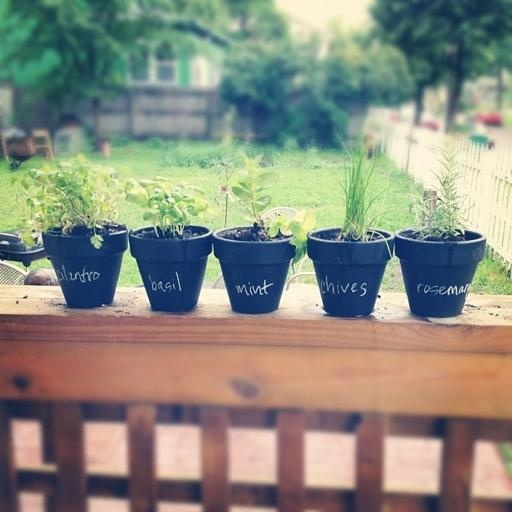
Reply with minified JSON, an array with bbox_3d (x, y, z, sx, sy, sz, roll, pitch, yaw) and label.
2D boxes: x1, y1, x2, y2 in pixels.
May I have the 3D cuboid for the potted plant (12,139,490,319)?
[{"bbox_3d":[0.040,-0.057,1.712,0.937,0.377,0.283,1,2,-1],"label":"potted plant"}]
